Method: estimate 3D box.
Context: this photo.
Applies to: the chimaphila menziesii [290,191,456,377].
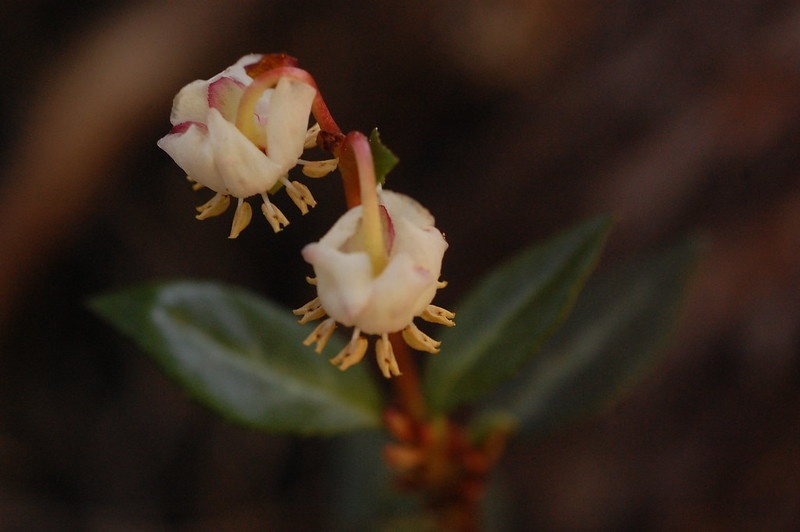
[{"bbox_3d":[-0.023,0.008,1.515,0.214,0.122,0.318,15,46,15],"label":"chimaphila menziesii"}]
